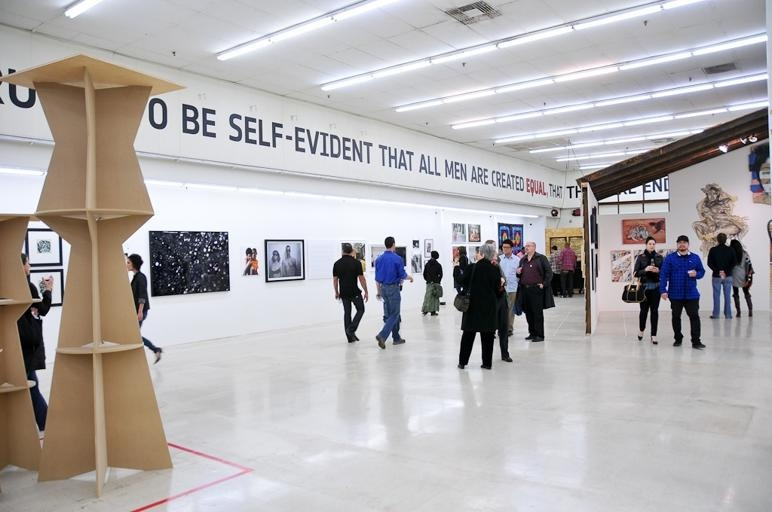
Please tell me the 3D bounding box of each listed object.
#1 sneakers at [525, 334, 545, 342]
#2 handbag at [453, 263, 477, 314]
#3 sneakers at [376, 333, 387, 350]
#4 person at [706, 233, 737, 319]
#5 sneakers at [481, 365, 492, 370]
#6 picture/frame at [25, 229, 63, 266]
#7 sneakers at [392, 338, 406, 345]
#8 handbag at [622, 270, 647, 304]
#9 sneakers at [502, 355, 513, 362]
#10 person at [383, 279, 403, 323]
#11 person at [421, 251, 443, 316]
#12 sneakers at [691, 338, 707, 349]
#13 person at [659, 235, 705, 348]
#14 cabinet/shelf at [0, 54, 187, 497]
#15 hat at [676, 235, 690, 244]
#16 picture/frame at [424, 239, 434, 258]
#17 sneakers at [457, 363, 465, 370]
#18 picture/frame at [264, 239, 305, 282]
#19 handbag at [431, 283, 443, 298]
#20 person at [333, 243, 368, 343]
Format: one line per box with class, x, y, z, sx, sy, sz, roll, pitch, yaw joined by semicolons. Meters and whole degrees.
sneakers;3.048;1.675;10.118;0.417;0.172;0.137;-4;0;25
handbag;1.237;0.548;7.867;0.323;0.789;0.532;-2;2;-4
sneakers;-0.095;1.681;9.779;0.122;0.326;0.150;-11;7;16
person;8.188;0.469;12.100;0.574;2.070;1.293;0;3;35
sneakers;1.611;1.776;7.948;0.058;0.064;0.154;-2;5;-35
picture/frame;-6.058;-0.173;8.759;0.055;0.741;0.714;-10;-5;35
sneakers;0.274;1.759;10.195;0.263;0.102;0.097;-3;-3;28
handbag;4.728;0.626;9.491;0.275;0.543;0.532;-1;3;8
sneakers;2.065;1.743;8.408;0.090;0.066;0.156;0;-3;-24
person;0.117;0.969;10.194;0.386;0.810;0.931;-2;3;-1
person;1.294;0.803;14.082;0.538;1.928;1.435;-2;2;3
sneakers;5.603;1.583;8.918;0.146;0.111;0.265;-2;-3;-14
person;5.381;0.650;8.996;0.672;2.025;0.752;0;3;33
cabinet/shelf;-2.778;0.169;4.778;1.143;3.958;0.479;-2;2;-11
hat;5.957;-0.347;9.948;0.264;0.132;0.373;-1;-5;21
picture/frame;1.472;-0.290;17.075;0.068;0.653;0.670;-3;-2;33
sneakers;1.230;1.774;8.016;0.133;0.082;0.162;-1;3;9
picture/frame;-2.672;0.109;12.858;0.109;0.981;1.162;-6;-5;42
handbag;1.543;0.948;14.061;0.335;0.540;0.443;-1;-1;33
person;-0.766;0.771;10.731;0.693;2.107;0.961;-2;2;-4
